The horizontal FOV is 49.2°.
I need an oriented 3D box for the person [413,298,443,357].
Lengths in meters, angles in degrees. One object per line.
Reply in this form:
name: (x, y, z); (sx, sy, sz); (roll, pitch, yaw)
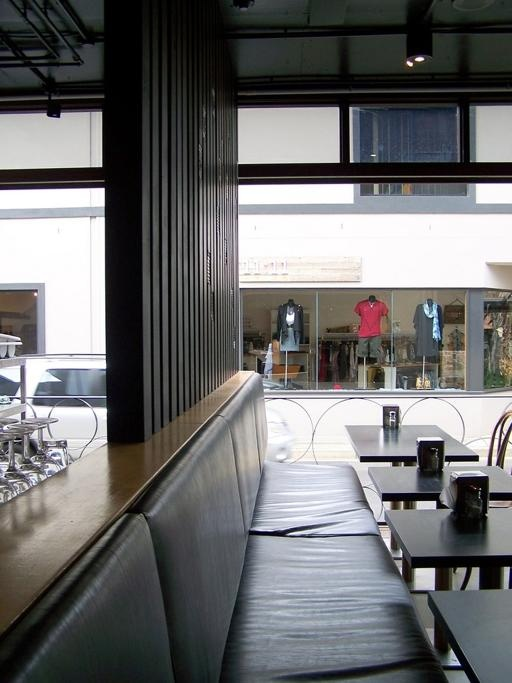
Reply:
person: (2.279, -0.125, 7.403); (0.385, 0.993, 0.144); (0, -33, 18)

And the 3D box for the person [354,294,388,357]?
person: (1.520, -0.214, 7.477); (0.389, 0.936, 0.163); (0, 35, 7)

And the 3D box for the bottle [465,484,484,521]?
bottle: (0.792, 0.579, 2.022); (0.069, 0.110, 0.018); (-5, 1, -10)
